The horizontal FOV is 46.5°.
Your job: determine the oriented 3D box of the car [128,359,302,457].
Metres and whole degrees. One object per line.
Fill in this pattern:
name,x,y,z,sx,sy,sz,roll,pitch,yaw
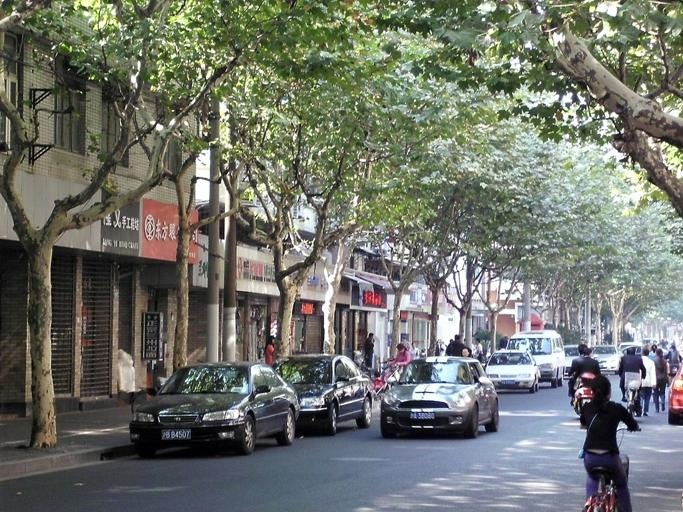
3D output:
car,-2.279,2.871,15.175,1.821,1.772,3.298,-10,-14,36

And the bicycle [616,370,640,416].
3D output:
bicycle,8.169,3.838,22.354,0.760,1.136,1.716,-2,-7,8
